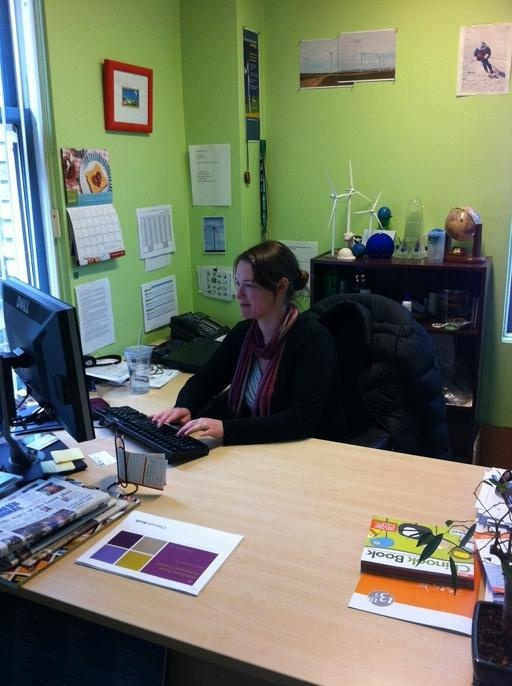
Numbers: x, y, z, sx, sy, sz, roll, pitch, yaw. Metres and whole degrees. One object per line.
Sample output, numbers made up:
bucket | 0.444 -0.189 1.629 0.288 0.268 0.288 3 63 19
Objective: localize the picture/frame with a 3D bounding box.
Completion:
picture/frame | -0.578 -1.102 2.343 0.030 0.329 0.398 9 14 28

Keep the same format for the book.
book | 0.306 0.381 0.993 0.196 0.033 0.198 2 13 18

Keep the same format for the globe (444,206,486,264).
globe | 1.032 -0.549 2.633 0.233 0.251 0.220 -16 24 -23

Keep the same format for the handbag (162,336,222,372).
handbag | -0.293 0.052 2.308 0.162 0.040 0.176 8 28 25

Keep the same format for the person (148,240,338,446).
person | 0.039 0.009 1.955 0.719 0.690 0.586 1 -1 -39
